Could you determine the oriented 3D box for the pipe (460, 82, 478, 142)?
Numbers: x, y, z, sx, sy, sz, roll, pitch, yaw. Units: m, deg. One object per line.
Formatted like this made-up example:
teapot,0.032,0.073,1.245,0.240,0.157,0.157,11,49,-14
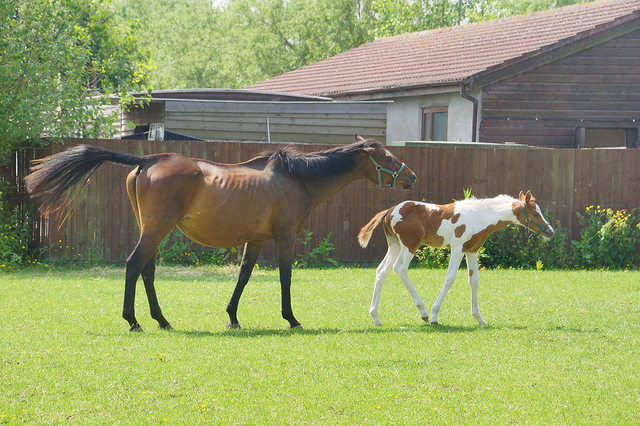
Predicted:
pipe,5.018,-3.392,29.124,0.639,1.890,0.280,3,4,-5
